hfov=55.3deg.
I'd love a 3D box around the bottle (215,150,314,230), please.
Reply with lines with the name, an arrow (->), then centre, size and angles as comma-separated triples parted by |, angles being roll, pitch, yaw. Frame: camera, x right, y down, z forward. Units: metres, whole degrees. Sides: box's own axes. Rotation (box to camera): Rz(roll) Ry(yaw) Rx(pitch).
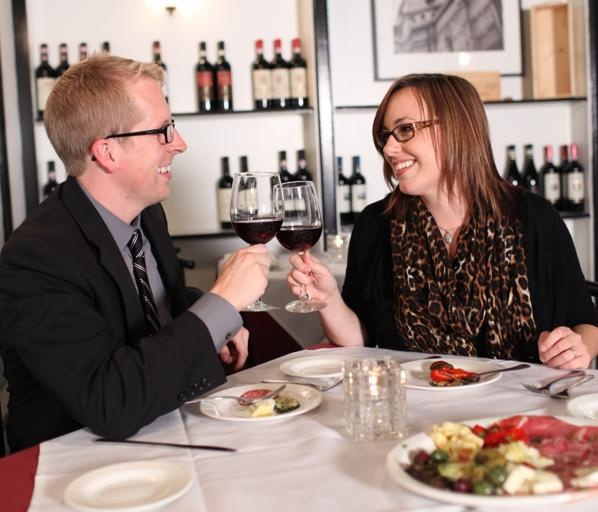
bottle -> -0.081, -0.155, 1.380 | 0.138, 0.234, 0.142 | 1, 6, 0

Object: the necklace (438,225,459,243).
necklace -> 0.445, -0.064, 1.701 | 0.053, 0.010, 0.057 | -4, 45, 14

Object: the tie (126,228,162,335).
tie -> -0.386, 0.066, 1.429 | 0.061, 0.348, 0.047 | -19, -32, 12
